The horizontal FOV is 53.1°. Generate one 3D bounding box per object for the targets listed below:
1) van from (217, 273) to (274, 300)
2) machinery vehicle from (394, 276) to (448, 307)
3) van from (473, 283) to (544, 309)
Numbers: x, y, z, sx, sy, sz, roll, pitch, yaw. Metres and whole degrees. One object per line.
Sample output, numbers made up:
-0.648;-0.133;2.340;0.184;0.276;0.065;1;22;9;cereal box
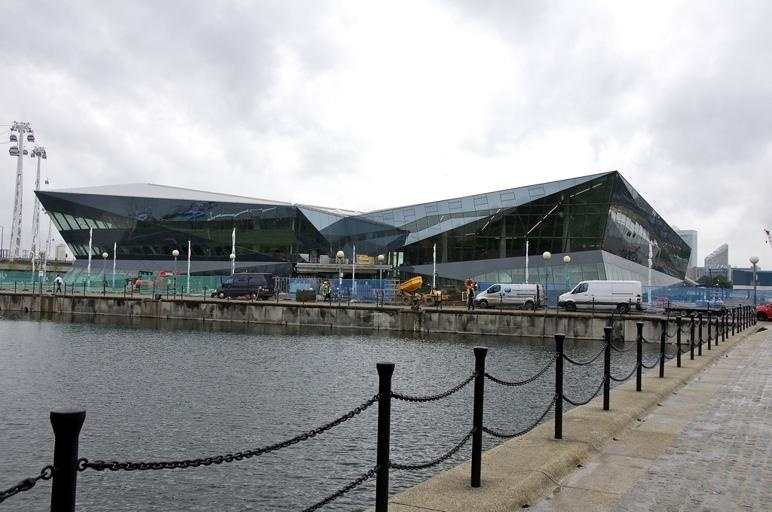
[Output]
-11.665;2.649;65.343;4.012;1.907;2.337;2;-1;12;van
2.586;2.855;59.100;3.986;2.115;2.104;-1;-2;28;machinery vehicle
8.847;2.868;55.460;3.925;1.650;1.981;1;-3;14;van
